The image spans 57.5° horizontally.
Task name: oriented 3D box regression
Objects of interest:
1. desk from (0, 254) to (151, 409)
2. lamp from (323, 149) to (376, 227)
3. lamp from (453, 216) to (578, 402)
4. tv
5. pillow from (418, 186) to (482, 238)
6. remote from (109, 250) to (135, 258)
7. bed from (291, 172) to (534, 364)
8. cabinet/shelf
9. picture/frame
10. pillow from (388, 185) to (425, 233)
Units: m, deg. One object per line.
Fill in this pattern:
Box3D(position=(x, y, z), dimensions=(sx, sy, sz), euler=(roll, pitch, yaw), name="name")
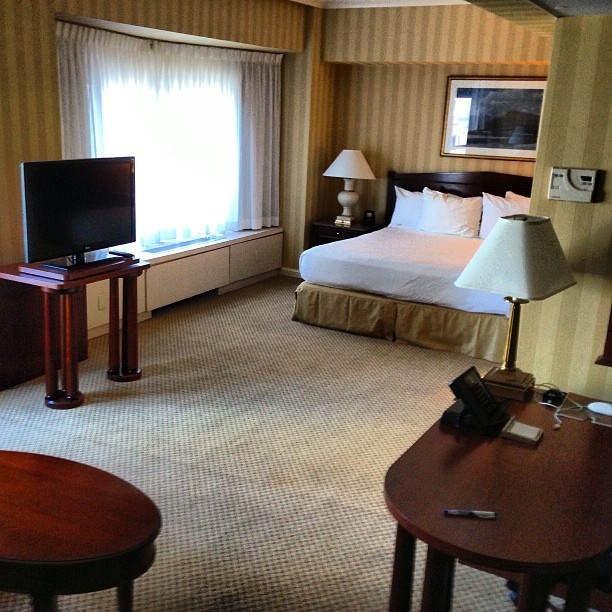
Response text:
Box3D(position=(-1.432, 0.129, 3.588), dimensions=(0.641, 0.902, 0.711), euler=(-2, 14, 27), name="desk")
Box3D(position=(0.478, -1.352, 6.332), dimensions=(0.617, 0.757, 0.620), euler=(6, 13, 28), name="lamp")
Box3D(position=(0.740, -0.002, 1.986), dimensions=(0.321, 0.634, 0.335), euler=(3, 17, 43), name="lamp")
Box3D(position=(-1.392, -0.560, 3.366), dimensions=(0.232, 0.505, 0.747), euler=(6, 17, 19), name="tv")
Box3D(position=(1.494, -0.945, 5.716), dimensions=(0.596, 0.362, 0.202), euler=(13, -11, 30), name="pillow")
Box3D(position=(-1.206, -0.337, 3.658), dimensions=(0.138, 0.029, 0.074), euler=(11, 13, 37), name="remote")
Box3D(position=(1.221, -0.316, 5.353), dimensions=(2.210, 1.249, 2.074), euler=(10, 26, 24), name="bed")
Box3D(position=(-0.882, -0.400, 5.539), dimensions=(0.134, 0.479, 1.929), euler=(-1, 13, 33), name="cabinet/shelf")
Box3D(position=(1.906, -1.937, 5.756), dimensions=(1.041, 0.942, 0.094), euler=(-1, 16, 31), name="picture/frame")
Box3D(position=(1.113, -1.052, 6.067), dimensions=(0.211, 0.474, 0.548), euler=(12, 9, -37), name="pillow")
